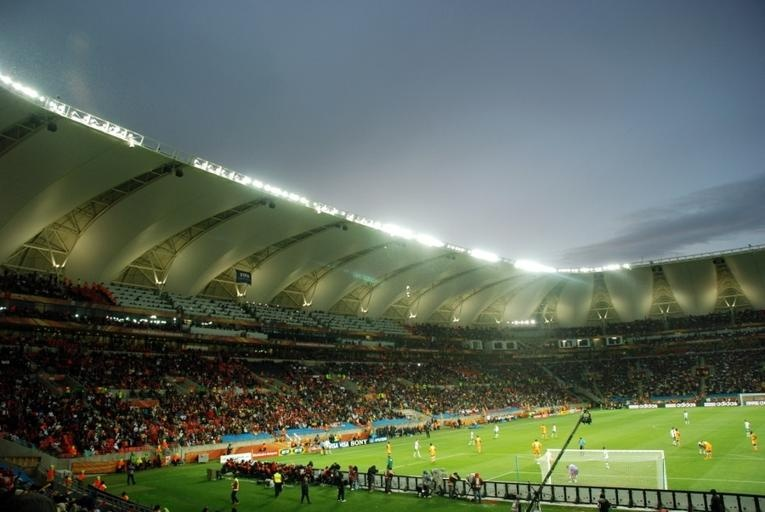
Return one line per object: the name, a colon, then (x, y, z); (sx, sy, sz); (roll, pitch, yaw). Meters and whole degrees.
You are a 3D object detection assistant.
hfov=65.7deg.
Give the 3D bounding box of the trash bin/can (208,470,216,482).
trash bin/can: (-15.669, 20.101, 54.323); (0.657, 0.775, 1.114); (-3, -5, -1)
